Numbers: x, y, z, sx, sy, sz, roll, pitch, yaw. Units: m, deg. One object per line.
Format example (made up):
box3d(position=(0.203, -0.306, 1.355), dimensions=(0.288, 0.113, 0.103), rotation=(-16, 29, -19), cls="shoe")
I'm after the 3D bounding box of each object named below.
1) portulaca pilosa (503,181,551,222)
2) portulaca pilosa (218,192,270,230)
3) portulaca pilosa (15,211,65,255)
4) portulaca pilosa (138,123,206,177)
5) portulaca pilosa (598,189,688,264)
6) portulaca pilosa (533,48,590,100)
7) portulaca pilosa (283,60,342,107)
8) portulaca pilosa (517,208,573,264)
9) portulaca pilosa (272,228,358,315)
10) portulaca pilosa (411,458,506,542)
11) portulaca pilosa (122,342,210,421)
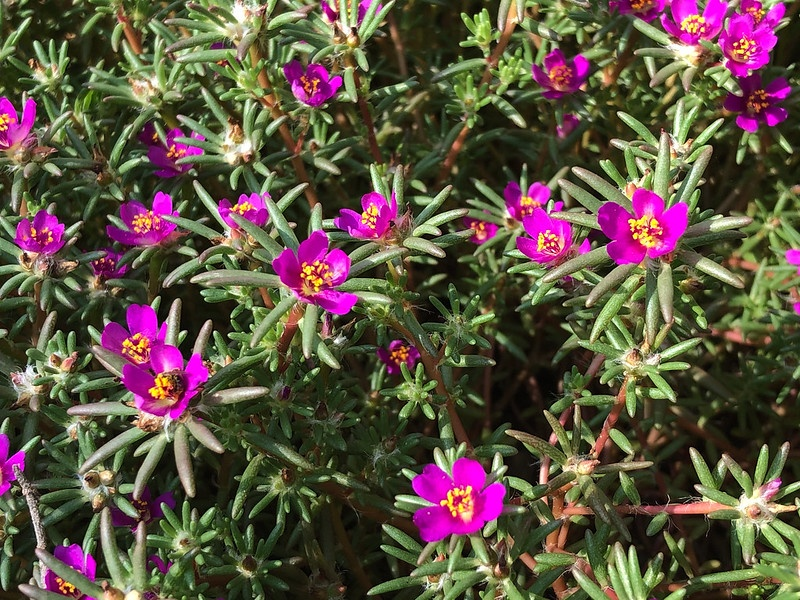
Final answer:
box3d(position=(0.603, -0.481, 3.986), dimensions=(0.210, 0.098, 0.219), rotation=(33, 63, 32), cls="portulaca pilosa")
box3d(position=(-0.628, -0.358, 3.281), dimensions=(0.198, 0.105, 0.192), rotation=(6, 54, 48), cls="portulaca pilosa")
box3d(position=(-1.452, -0.250, 3.423), dimensions=(0.200, 0.096, 0.163), rotation=(20, 71, -5), cls="portulaca pilosa")
box3d(position=(-1.044, -0.661, 3.838), dimensions=(0.281, 0.140, 0.294), rotation=(6, 86, 13), cls="portulaca pilosa")
box3d(position=(0.824, -0.246, 2.877), dimensions=(0.296, 0.165, 0.199), rotation=(-8, 54, -2), cls="portulaca pilosa")
box3d(position=(0.768, -1.080, 3.948), dimensions=(0.245, 0.159, 0.261), rotation=(15, 88, 8), cls="portulaca pilosa")
box3d(position=(-0.369, -0.937, 3.615), dimensions=(0.223, 0.146, 0.201), rotation=(-20, 55, -11), cls="portulaca pilosa")
box3d(position=(0.575, -0.241, 3.304), dimensions=(0.206, 0.148, 0.237), rotation=(0, 60, 24), cls="portulaca pilosa")
box3d(position=(-0.269, -0.087, 2.891), dimensions=(0.281, 0.223, 0.230), rotation=(19, 58, 17), cls="portulaca pilosa")
box3d(position=(0.192, 0.677, 2.798), dimensions=(0.305, 0.166, 0.237), rotation=(-10, 54, -3), cls="portulaca pilosa")
box3d(position=(-0.774, 0.278, 2.758), dimensions=(0.253, 0.113, 0.257), rotation=(-17, 56, 2), cls="portulaca pilosa")
